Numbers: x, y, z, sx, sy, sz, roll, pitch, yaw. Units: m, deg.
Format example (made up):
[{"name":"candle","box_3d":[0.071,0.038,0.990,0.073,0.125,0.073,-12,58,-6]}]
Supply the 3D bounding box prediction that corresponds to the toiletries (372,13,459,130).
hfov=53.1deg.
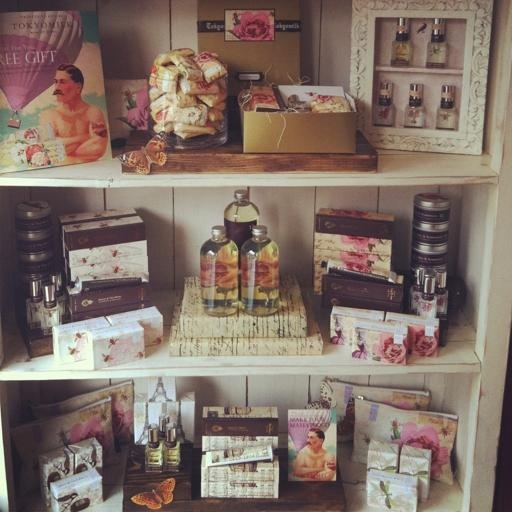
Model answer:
[{"name":"toiletries","box_3d":[0.353,-0.403,1.149,0.222,0.226,0.056,4,19,14]}]

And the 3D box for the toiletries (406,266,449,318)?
[{"name":"toiletries","box_3d":[0.402,0.087,1.194,0.115,0.142,0.078,4,21,20]}]

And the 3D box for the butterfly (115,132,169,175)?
[{"name":"butterfly","box_3d":[-0.222,-0.203,1.016,0.092,0.079,0.041,-5,14,-8]}]

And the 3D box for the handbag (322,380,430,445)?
[{"name":"handbag","box_3d":[0.329,0.429,1.393,0.201,0.129,0.057,3,12,11]}]

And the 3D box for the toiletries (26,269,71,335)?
[{"name":"toiletries","box_3d":[-0.470,0.107,1.143,0.094,0.131,0.059,-9,15,-23]}]
